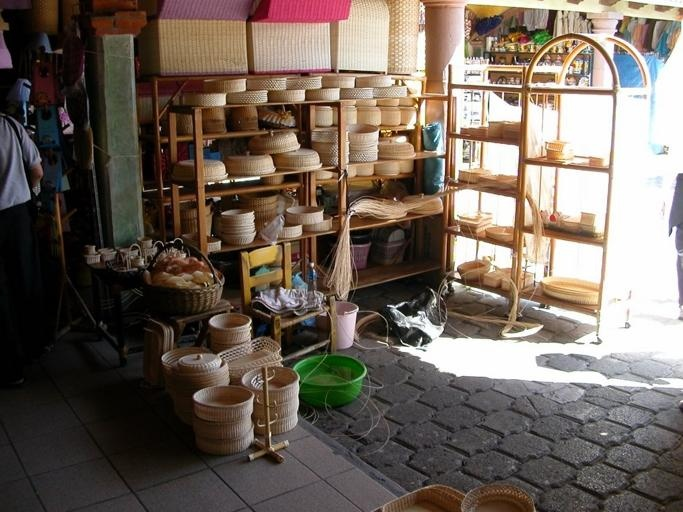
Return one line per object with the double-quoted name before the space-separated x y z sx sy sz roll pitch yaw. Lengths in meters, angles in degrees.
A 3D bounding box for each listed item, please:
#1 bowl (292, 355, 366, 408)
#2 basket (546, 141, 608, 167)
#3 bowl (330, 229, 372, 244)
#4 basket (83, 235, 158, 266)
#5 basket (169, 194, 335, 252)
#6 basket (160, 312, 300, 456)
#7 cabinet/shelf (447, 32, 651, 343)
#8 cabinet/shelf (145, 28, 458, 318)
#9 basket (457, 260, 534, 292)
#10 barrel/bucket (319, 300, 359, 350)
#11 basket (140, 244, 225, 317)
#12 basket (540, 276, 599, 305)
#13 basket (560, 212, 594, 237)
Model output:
"bowl" -0.124 1.058 4.470 0.641 0.200 0.584 1 16 0
"basket" 2.388 -1.037 5.278 0.552 0.224 0.554 2 17 11
"bowl" 0.202 -0.244 6.608 0.304 0.098 0.269 7 13 39
"basket" -2.042 -0.023 4.880 0.491 0.125 0.343 -7 13 -36
"basket" -0.875 -0.387 5.458 1.563 0.422 0.817 -6 18 -15
"basket" -0.951 0.967 3.809 0.707 0.301 0.854 -4 17 -25
"cabinet/shelf" 2.335 -0.809 5.752 1.921 3.038 1.964 4 20 19
"cabinet/shelf" -0.488 -0.914 5.624 3.695 2.756 1.163 -9 15 -36
"basket" 1.759 0.220 6.199 0.469 0.156 0.599 -12 19 -41
"barrel/bucket" -0.024 0.679 5.266 0.534 0.390 0.469 -1 13 -10
"basket" -1.353 0.163 4.398 0.682 0.511 0.658 5 10 31
"basket" 2.476 0.360 5.650 0.572 0.184 0.593 5 18 21
"basket" 2.442 -0.361 5.428 0.288 0.229 0.434 -1 17 3
